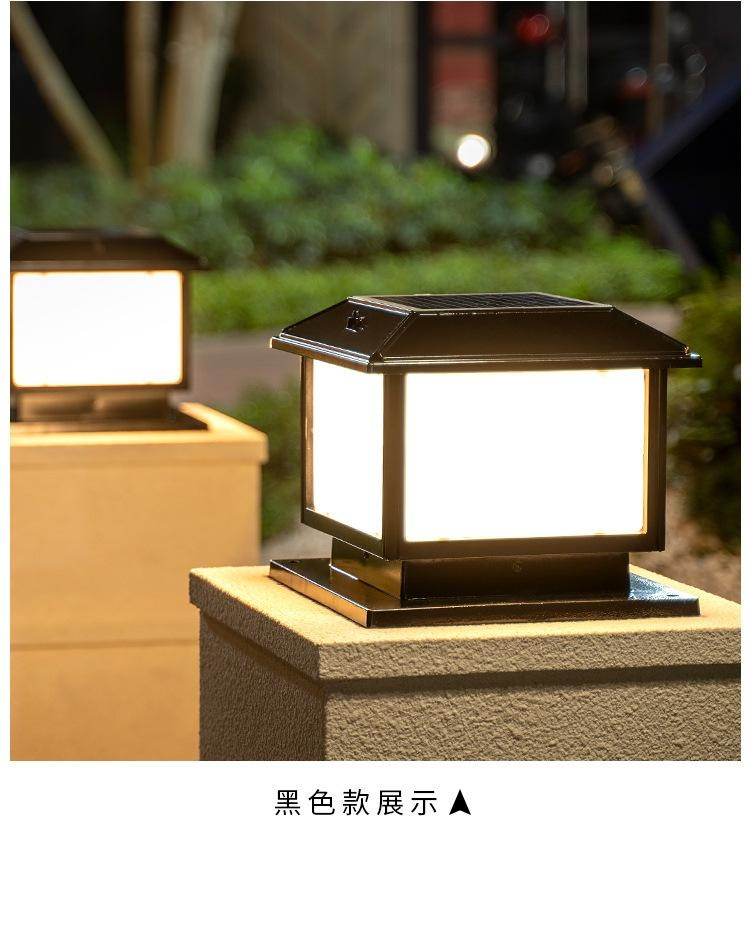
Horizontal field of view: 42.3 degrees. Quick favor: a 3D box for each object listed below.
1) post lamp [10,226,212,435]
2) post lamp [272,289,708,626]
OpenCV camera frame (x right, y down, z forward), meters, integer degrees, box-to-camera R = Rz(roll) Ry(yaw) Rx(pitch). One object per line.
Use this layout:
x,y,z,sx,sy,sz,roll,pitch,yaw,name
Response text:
-0.783,-0.463,3.315,0.698,0.608,0.710,-1,10,-7,post lamp
0.139,-0.022,1.620,0.624,0.446,0.569,-2,6,-24,post lamp
